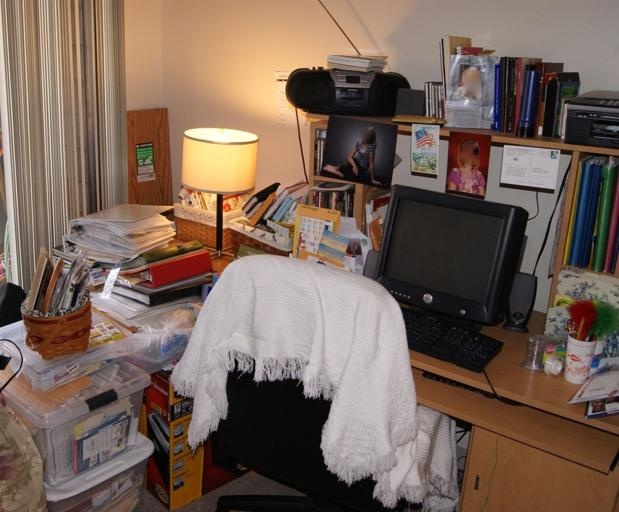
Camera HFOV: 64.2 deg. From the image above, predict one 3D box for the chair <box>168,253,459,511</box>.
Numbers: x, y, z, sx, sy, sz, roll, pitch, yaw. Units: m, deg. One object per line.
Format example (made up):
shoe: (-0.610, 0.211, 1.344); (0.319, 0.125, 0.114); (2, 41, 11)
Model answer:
chair: (0.037, 0.393, 1.503); (0.716, 0.618, 0.399); (18, 35, 20)

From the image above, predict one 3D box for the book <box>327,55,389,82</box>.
book: (0.201, -0.800, 2.105); (0.248, 0.093, 0.146); (4, 19, 5)

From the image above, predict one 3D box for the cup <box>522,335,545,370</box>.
cup: (0.756, 0.330, 1.668); (0.069, 0.107, 0.072); (0, 19, 0)

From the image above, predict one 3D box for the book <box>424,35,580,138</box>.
book: (0.730, -0.621, 1.841); (0.347, 0.178, 0.512); (10, 15, 24)

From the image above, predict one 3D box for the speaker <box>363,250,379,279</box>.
speaker: (0.266, 0.040, 2.033); (0.026, 0.116, 0.095); (3, 8, -19)

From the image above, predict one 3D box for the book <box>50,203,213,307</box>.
book: (-0.780, -0.044, 2.243); (0.555, 0.287, 0.442); (20, 29, 30)

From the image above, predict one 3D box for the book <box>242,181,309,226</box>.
book: (-0.164, -0.249, 2.497); (0.207, 0.097, 0.287); (-34, -2, 10)

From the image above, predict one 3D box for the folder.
folder: (-0.584, 0.030, 2.198); (0.335, 0.081, 0.364); (-6, -17, -27)

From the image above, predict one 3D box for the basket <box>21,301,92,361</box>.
basket: (-0.841, 0.264, 1.661); (0.181, 0.157, 0.198); (18, 23, 42)

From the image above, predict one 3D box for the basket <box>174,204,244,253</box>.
basket: (-0.598, -0.172, 2.746); (0.330, 0.201, 0.254); (15, 18, 35)

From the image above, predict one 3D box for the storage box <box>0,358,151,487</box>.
storage box: (-0.807, 0.566, 1.771); (0.449, 0.348, 0.223); (-13, 23, -39)
